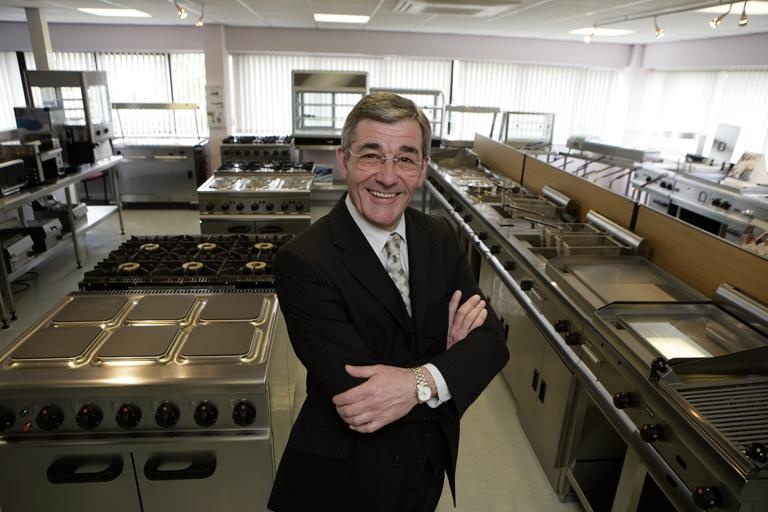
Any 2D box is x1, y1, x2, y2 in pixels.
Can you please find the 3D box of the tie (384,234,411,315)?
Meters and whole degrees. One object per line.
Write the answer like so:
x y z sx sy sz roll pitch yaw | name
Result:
0.054 0.065 1.802 0.077 0.352 0.053 3 -25 -13 | tie

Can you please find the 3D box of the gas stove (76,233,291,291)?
-1.257 0.017 3.015 1.143 0.155 0.750 0 19 -3 | gas stove
